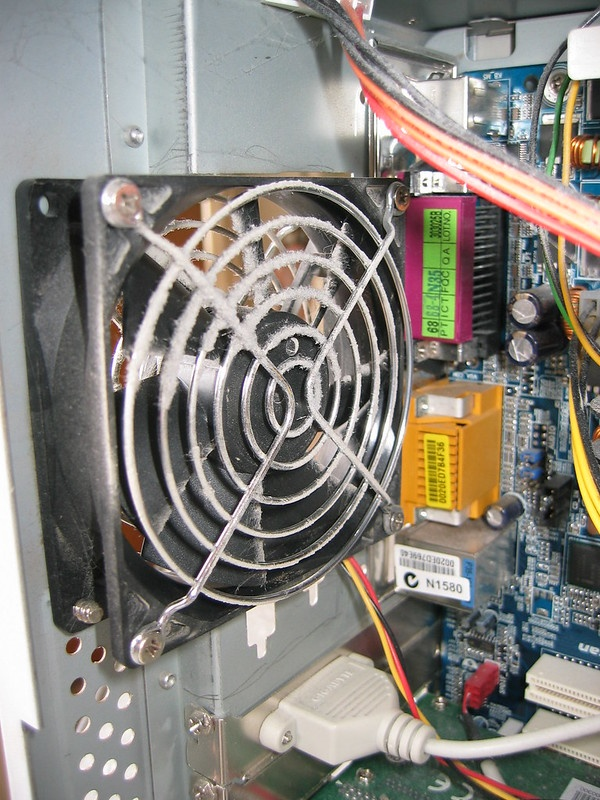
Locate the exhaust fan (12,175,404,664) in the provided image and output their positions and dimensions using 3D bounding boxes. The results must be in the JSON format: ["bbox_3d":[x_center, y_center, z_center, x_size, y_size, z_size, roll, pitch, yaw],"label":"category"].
[{"bbox_3d":[-0.092,-0.002,0.883,0.280,0.526,0.549,3,9,36],"label":"exhaust fan"}]
